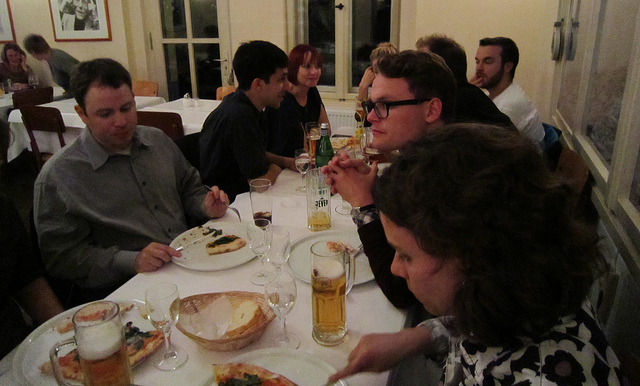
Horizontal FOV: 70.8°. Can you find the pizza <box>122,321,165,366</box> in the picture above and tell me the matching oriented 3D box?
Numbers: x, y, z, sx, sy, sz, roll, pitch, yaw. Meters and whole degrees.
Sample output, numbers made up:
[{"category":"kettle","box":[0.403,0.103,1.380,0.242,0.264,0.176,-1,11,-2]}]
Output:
[{"category":"pizza","box":[-0.708,0.556,1.765,0.031,0.221,0.183,20,32,-53]}]

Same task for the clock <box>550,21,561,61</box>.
[{"category":"clock","box":[2.001,-1.288,3.823,0.067,0.308,0.329,10,26,25]}]

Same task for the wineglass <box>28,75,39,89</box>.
[{"category":"wineglass","box":[-4.352,-1.676,6.834,0.119,0.176,0.340,-16,28,-29]}]

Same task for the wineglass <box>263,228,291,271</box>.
[{"category":"wineglass","box":[-0.196,0.251,2.053,0.117,0.212,0.257,-3,24,-3]}]

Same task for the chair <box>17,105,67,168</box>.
[{"category":"chair","box":[-2.809,-0.596,4.779,0.468,0.651,0.474,4,21,0]}]

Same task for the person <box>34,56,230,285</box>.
[{"category":"person","box":[-1.080,-0.171,2.578,0.785,1.089,1.222,3,18,29]}]

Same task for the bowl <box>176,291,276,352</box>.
[{"category":"bowl","box":[-0.327,0.519,1.754,0.305,0.106,0.413,-7,9,22]}]

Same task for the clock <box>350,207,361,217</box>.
[{"category":"clock","box":[0.171,0.090,2.132,0.045,0.031,0.047,3,-15,-38]}]

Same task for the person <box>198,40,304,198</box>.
[{"category":"person","box":[-0.508,-0.561,3.296,0.803,1.015,0.710,-6,24,-25]}]

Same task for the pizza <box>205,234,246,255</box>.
[{"category":"pizza","box":[-0.469,0.253,2.203,0.107,0.036,0.109,-10,14,-30]}]

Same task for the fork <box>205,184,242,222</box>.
[{"category":"fork","box":[-0.578,0.063,2.648,0.281,0.037,0.049,46,25,-1]}]

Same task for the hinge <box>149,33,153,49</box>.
[{"category":"hinge","box":[-2.564,-2.299,6.836,0.037,0.213,0.050,-10,25,-17]}]
